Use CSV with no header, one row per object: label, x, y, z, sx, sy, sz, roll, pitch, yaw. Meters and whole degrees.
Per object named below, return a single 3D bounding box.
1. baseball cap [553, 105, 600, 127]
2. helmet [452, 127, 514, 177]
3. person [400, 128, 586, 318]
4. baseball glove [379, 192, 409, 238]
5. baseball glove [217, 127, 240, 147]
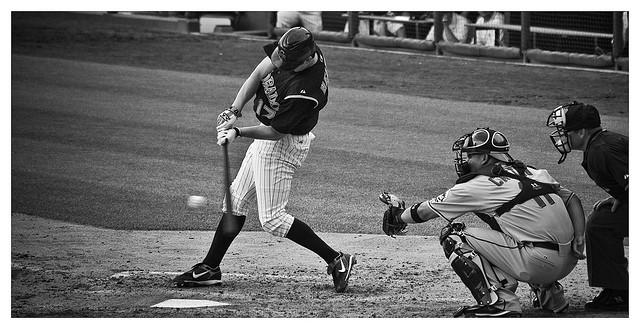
baseball cap,2.722,-0.529,9.428,0.400,0.234,0.484,-7,16,-41
helmet,1.704,-0.153,9.284,0.657,0.452,0.484,-1,12,31
person,1.851,0.624,9.160,1.598,1.949,0.432,7,7,12
baseball glove,0.743,0.519,9.392,0.305,0.460,0.219,6,7,3
baseball glove,-0.961,-0.302,9.454,0.213,0.203,0.148,5,7,-7
